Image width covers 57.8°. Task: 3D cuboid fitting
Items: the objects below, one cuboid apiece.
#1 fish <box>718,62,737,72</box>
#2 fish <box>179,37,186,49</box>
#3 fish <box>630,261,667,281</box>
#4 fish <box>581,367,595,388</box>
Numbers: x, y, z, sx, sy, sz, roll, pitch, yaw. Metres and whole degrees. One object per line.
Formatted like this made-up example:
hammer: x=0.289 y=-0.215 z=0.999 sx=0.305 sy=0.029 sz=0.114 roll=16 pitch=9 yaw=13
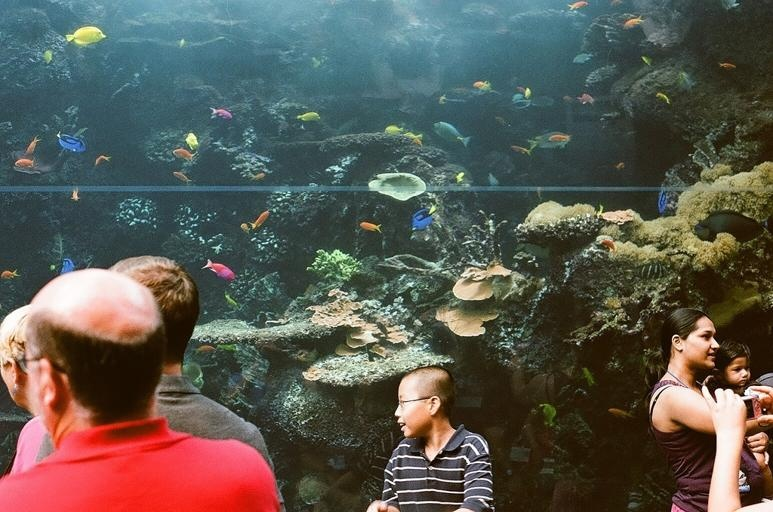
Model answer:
fish: x=7.415 y=-4.109 z=15.197 sx=0.122 sy=0.166 sz=0.364 roll=-2 pitch=17 yaw=-44
fish: x=-6.051 y=-6.324 z=20.814 sx=0.250 sy=0.219 sz=0.236 roll=4 pitch=-5 yaw=-4
fish: x=5.338 y=0.297 z=14.204 sx=0.596 sy=0.295 sz=0.286 roll=-2 pitch=26 yaw=2
fish: x=4.176 y=2.481 z=14.441 sx=0.259 sy=0.376 sz=0.129 roll=-27 pitch=-11 yaw=17
